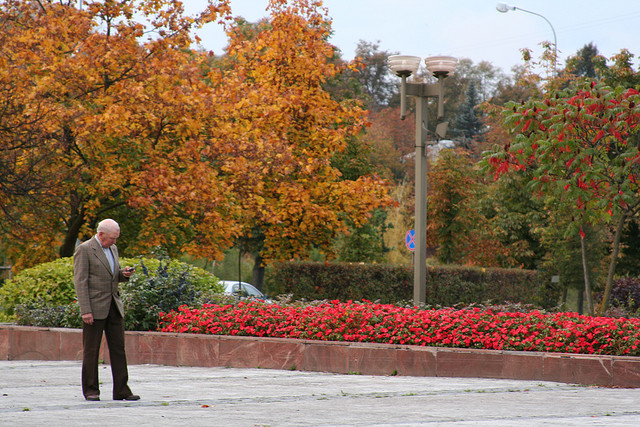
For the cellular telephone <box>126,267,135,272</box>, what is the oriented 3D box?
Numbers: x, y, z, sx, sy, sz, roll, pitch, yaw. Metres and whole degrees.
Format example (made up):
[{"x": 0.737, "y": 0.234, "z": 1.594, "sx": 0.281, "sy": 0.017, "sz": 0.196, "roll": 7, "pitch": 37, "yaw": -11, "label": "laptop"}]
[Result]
[{"x": -4.277, "y": 1.227, "z": 36.753, "sx": 0.119, "sy": 0.045, "sz": 0.083, "roll": -20, "pitch": 2, "yaw": 5, "label": "cellular telephone"}]
